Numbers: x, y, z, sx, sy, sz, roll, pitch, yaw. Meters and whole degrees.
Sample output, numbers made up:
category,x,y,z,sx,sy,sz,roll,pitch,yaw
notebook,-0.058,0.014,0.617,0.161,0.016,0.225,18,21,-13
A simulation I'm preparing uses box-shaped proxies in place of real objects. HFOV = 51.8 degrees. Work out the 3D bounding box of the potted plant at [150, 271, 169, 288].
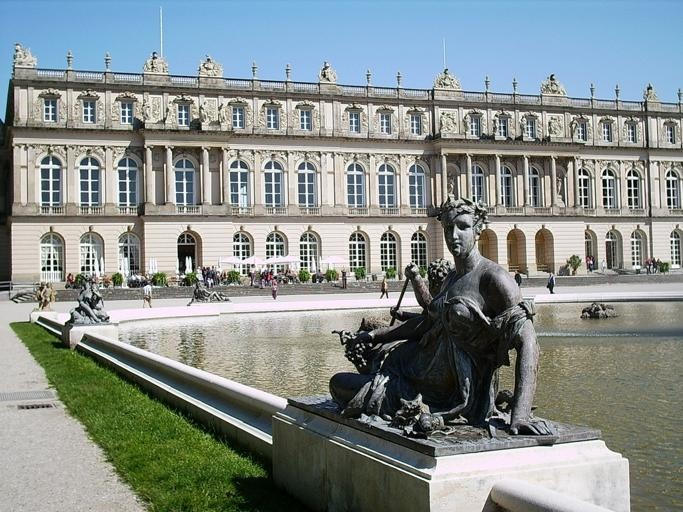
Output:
category,x,y,z,sx,sy,sz,roll,pitch,yaw
potted plant,-12.210,1.548,47.471,0.964,1.015,0.978,-5,7,-36

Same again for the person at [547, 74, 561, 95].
category,x,y,z,sx,sy,sz,roll,pitch,yaw
person,18.897,-14.996,61.945,1.150,1.558,0.343,0,1,-5

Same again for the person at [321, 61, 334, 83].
category,x,y,z,sx,sy,sz,roll,pitch,yaw
person,-1.094,-14.460,55.456,1.192,1.669,0.547,0,1,-14

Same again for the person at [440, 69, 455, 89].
category,x,y,z,sx,sy,sz,roll,pitch,yaw
person,8.905,-14.722,58.525,1.730,1.621,0.447,0,1,-20

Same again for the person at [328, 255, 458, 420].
category,x,y,z,sx,sy,sz,roll,pitch,yaw
person,0.495,0.732,6.498,0.941,1.396,0.825,5,-7,13

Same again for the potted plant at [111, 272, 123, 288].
category,x,y,z,sx,sy,sz,roll,pitch,yaw
potted plant,-14.923,1.557,46.722,0.641,0.902,0.729,0,1,-18

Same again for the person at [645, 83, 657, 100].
category,x,y,z,sx,sy,sz,roll,pitch,yaw
person,28.703,-14.936,64.742,1.359,1.282,0.872,0,1,-22

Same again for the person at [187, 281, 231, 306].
category,x,y,z,sx,sy,sz,roll,pitch,yaw
person,-6.056,1.894,33.864,2.519,1.365,1.123,-2,5,-36

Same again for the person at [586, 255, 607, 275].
category,x,y,z,sx,sy,sz,roll,pitch,yaw
person,22.260,0.753,61.554,1.465,1.547,0.771,1,-4,-25

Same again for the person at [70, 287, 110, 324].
category,x,y,z,sx,sy,sz,roll,pitch,yaw
person,-6.474,1.372,18.245,1.098,1.143,0.825,4,-5,-37

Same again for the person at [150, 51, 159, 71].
category,x,y,z,sx,sy,sz,roll,pitch,yaw
person,-13.685,-14.132,51.134,0.474,1.341,0.384,0,1,-1
